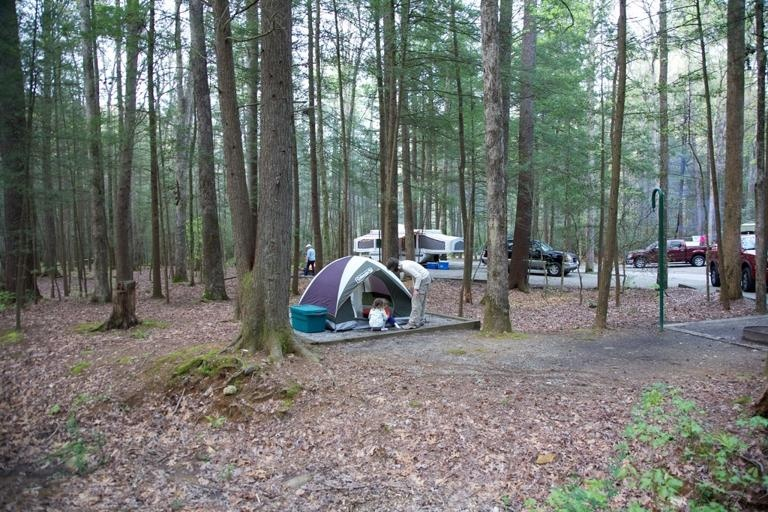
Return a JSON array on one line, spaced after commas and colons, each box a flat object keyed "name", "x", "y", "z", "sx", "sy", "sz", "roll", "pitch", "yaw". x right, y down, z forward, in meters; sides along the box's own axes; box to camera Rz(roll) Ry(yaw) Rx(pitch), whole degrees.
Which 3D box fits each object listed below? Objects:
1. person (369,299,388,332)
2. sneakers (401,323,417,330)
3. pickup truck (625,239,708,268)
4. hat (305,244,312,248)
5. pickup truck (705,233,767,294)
[{"name": "person", "x": -0.175, "y": 1.617, "z": 18.010, "sx": 0.558, "sy": 0.951, "sz": 0.675, "roll": 2, "pitch": 1, "yaw": 9}, {"name": "sneakers", "x": 0.662, "y": 1.923, "z": 18.166, "sx": 0.172, "sy": 0.131, "sz": 0.312, "roll": -3, "pitch": -8, "yaw": 27}, {"name": "pickup truck", "x": 14.164, "y": -0.089, "z": 33.182, "sx": 2.768, "sy": 1.125, "sz": 1.367, "roll": 2, "pitch": 2, "yaw": 13}, {"name": "hat", "x": -3.882, "y": -0.504, "z": 34.194, "sx": 0.315, "sy": 0.191, "sz": 0.396, "roll": 0, "pitch": 6, "yaw": 3}, {"name": "pickup truck", "x": 12.727, "y": 0.201, "z": 23.521, "sx": 1.630, "sy": 1.839, "sz": 3.574, "roll": -1, "pitch": -4, "yaw": -2}]
